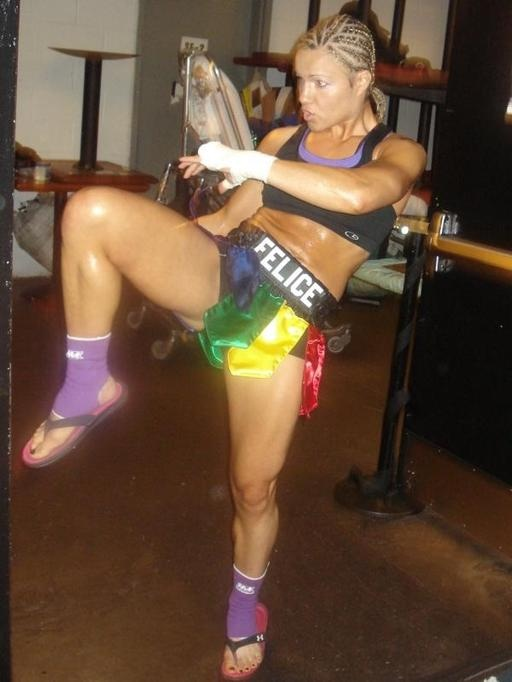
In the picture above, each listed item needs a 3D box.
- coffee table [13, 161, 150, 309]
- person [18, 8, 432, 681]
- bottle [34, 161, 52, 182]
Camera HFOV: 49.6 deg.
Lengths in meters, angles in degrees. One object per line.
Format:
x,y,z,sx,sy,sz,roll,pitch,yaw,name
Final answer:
-1.048,-0.559,3.208,0.960,0.899,0.926,0,9,-10,coffee table
-0.082,0.025,1.119,0.666,1.264,0.389,11,15,14,person
-1.097,-0.863,2.851,0.093,0.099,0.092,1,3,-6,bottle
